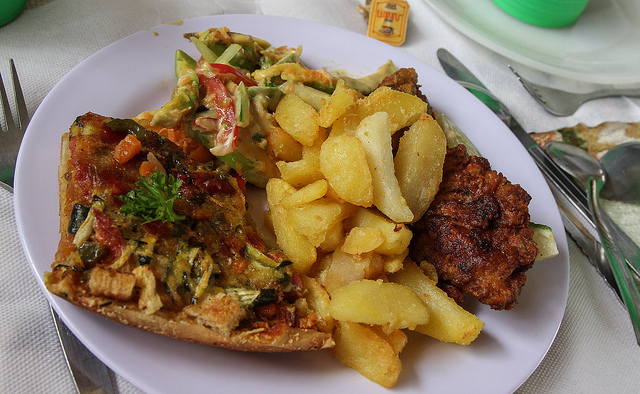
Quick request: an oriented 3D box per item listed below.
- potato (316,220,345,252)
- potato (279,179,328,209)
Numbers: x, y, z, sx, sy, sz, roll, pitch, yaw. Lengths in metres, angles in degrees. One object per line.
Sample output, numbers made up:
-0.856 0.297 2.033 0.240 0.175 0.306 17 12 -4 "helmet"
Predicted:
0.109 0.332 4.687 0.135 0.199 0.241 44 77 -9 "potato"
-0.121 -0.035 4.557 0.267 0.274 0.071 -32 87 15 "potato"
